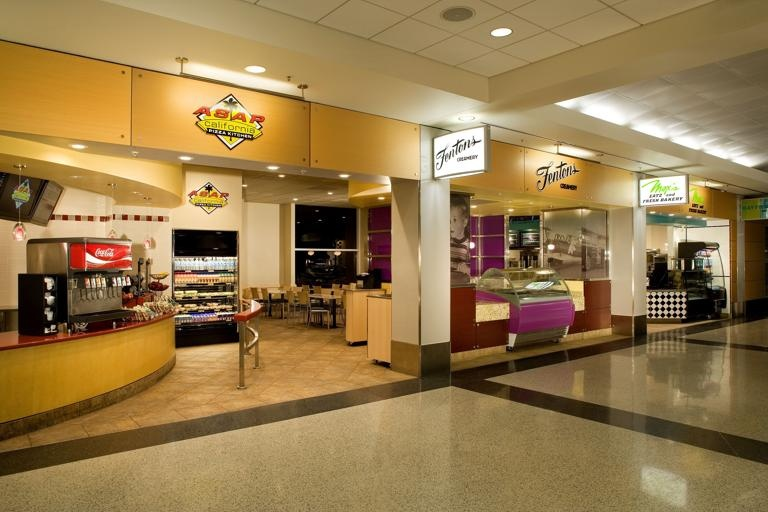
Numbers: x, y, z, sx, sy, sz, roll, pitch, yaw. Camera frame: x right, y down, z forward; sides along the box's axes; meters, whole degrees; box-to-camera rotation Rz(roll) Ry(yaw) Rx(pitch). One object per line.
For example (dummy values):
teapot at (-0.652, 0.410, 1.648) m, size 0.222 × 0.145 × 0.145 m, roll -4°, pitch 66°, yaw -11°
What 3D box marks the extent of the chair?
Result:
chair at (-2.474, 1.434, 15.480) m, size 2.425 × 1.350 × 4.256 m, roll -4°, pitch 6°, yaw -37°
